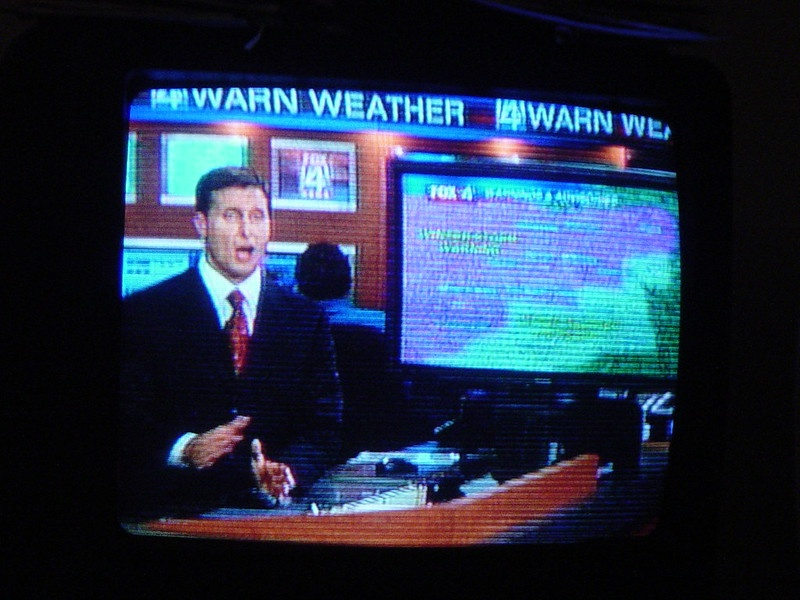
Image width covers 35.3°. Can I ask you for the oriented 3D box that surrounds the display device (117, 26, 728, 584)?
[{"bbox_3d":[-0.101,0.064,2.430,1.249,0.911,0.638,3,-6,-27],"label":"display device"}]
